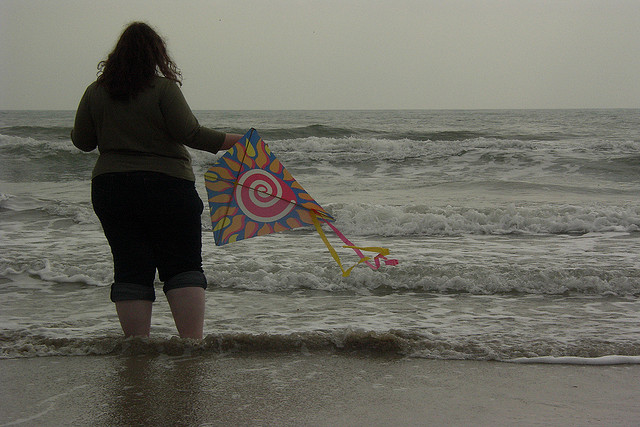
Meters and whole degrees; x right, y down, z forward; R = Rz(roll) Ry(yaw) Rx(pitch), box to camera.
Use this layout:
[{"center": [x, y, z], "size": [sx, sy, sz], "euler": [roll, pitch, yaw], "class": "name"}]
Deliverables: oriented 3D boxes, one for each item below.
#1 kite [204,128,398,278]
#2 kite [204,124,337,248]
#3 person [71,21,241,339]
[{"center": [-0.036, -0.025, 6.317], "size": [2.128, 1.000, 0.427], "euler": [16, -10, -29], "class": "kite"}, {"center": [-0.423, -0.140, 6.044], "size": [1.400, 0.997, 0.115], "euler": [18, -18, -37], "class": "kite"}, {"center": [-1.277, -0.168, 5.593], "size": [1.094, 2.500, 0.551], "euler": [-1, 15, -6], "class": "person"}]
